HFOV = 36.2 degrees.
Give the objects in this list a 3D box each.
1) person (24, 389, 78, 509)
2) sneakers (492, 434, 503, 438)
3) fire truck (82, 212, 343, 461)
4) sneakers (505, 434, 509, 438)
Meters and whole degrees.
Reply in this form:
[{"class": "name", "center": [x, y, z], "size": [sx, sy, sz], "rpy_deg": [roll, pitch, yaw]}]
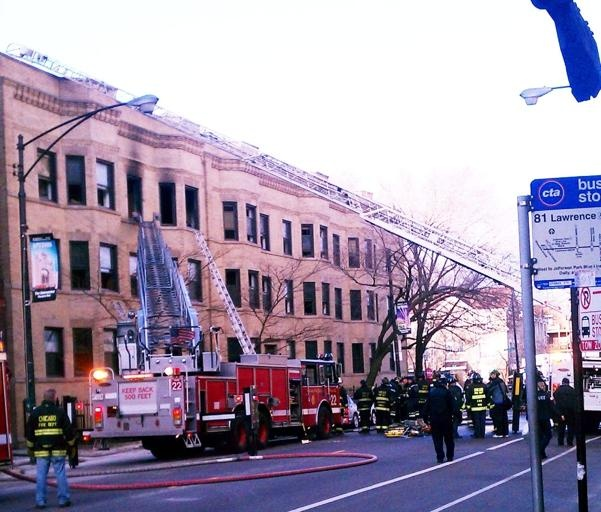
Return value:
[{"class": "person", "center": [-3.913, 3.075, 14.257], "size": [0.717, 1.549, 0.373], "rpy_deg": [-4, -12, -1]}, {"class": "sneakers", "center": [5.349, 4.839, 24.885], "size": [0.108, 0.128, 0.315], "rpy_deg": [0, 0, -32]}, {"class": "fire truck", "center": [-1.678, 2.597, 25.337], "size": [3.121, 5.291, 9.371], "rpy_deg": [-8, -8, 27]}, {"class": "sneakers", "center": [5.558, 4.813, 24.768], "size": [0.079, 0.052, 0.141], "rpy_deg": [1, 3, 9]}]
